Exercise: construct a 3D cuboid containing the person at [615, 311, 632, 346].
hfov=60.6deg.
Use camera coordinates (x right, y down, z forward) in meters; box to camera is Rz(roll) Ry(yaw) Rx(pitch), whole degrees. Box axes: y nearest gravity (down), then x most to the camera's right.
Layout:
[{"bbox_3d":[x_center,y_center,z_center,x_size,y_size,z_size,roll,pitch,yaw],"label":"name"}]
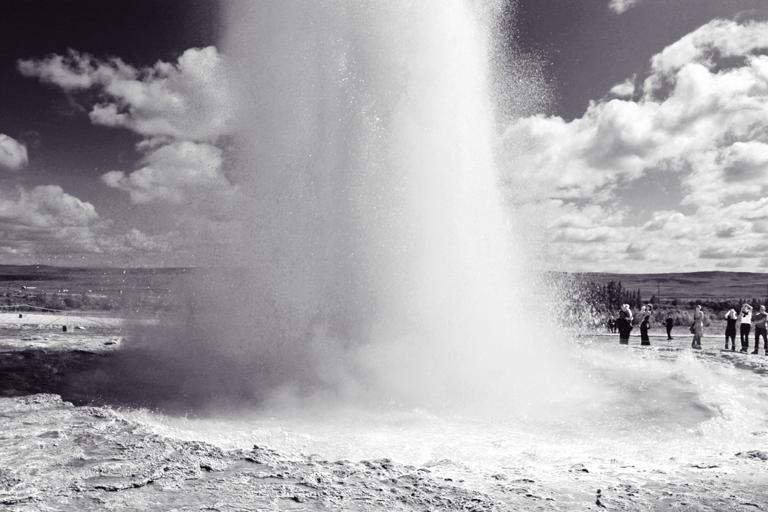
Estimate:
[{"bbox_3d":[8.384,2.375,22.842,0.481,1.345,0.407,9,-32,21],"label":"person"}]
